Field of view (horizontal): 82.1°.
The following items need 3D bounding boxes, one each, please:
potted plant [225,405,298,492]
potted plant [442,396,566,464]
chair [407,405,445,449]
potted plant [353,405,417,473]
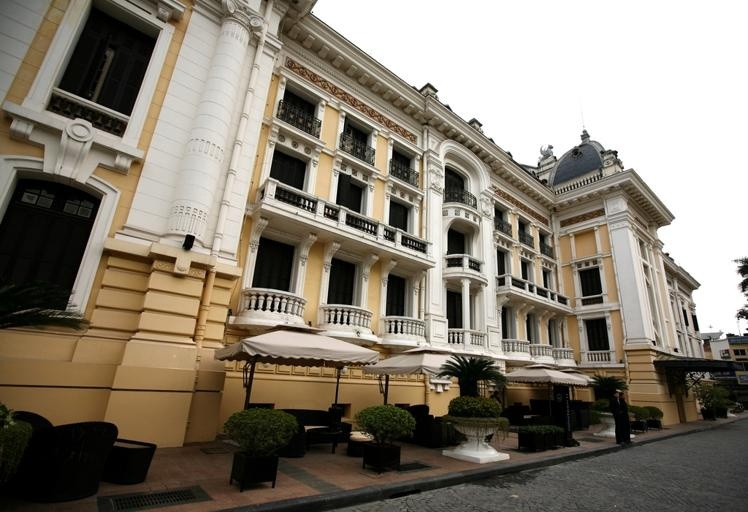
[{"bbox_3d":[-2.804,4.640,10.362,1.594,1.828,0.918,7,-21,-13],"label":"potted plant"},{"bbox_3d":[3.268,5.527,13.828,1.904,1.949,0.855,0,-21,7],"label":"potted plant"},{"bbox_3d":[1.874,6.095,15.764,1.039,1.034,1.229,-12,-22,40],"label":"chair"},{"bbox_3d":[0.026,5.334,12.489,2.191,1.747,1.876,-3,-25,0],"label":"potted plant"}]
